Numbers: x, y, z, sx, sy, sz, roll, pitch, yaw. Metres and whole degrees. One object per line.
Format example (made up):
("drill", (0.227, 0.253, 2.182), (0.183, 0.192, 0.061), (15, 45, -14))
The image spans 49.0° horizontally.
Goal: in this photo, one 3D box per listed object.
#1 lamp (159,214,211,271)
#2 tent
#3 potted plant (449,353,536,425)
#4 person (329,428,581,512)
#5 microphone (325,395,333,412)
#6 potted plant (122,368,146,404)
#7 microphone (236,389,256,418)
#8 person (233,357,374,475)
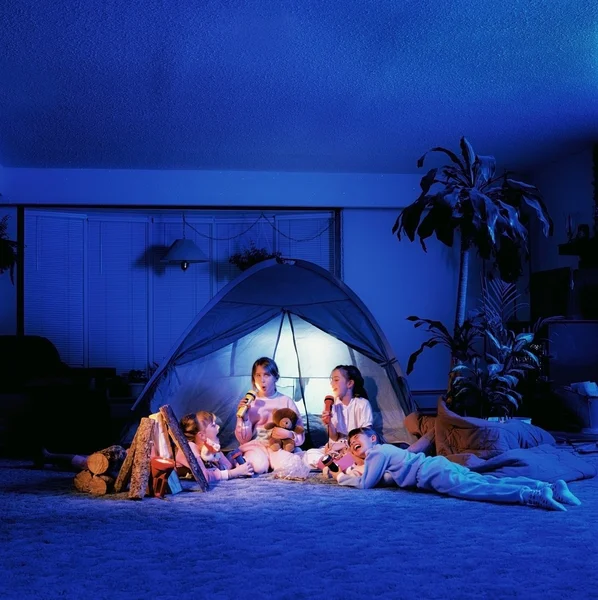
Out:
("lamp", (-1.194, -0.623, 6.796), (0.509, 0.572, 0.554), (0, -6, -23))
("tent", (-0.222, 0.381, 4.744), (1.410, 0.768, 1.390), (2, -8, -8))
("potted plant", (1.257, 0.539, 4.306), (0.595, 0.401, 0.592), (-1, 3, -33))
("person", (0.764, 0.832, 3.314), (1.093, 0.253, 0.402), (2, 7, 34))
("microphone", (0.183, 0.611, 4.021), (0.053, 0.086, 0.173), (-1, -5, 4))
("potted plant", (-1.656, 0.814, 6.574), (0.222, 0.325, 0.138), (-2, -5, -3))
("microphone", (-0.317, 0.601, 3.980), (0.061, 0.188, 0.051), (-7, -44, 38))
("person", (0.028, 0.727, 3.986), (0.803, 0.613, 0.638), (1, -9, -9))
